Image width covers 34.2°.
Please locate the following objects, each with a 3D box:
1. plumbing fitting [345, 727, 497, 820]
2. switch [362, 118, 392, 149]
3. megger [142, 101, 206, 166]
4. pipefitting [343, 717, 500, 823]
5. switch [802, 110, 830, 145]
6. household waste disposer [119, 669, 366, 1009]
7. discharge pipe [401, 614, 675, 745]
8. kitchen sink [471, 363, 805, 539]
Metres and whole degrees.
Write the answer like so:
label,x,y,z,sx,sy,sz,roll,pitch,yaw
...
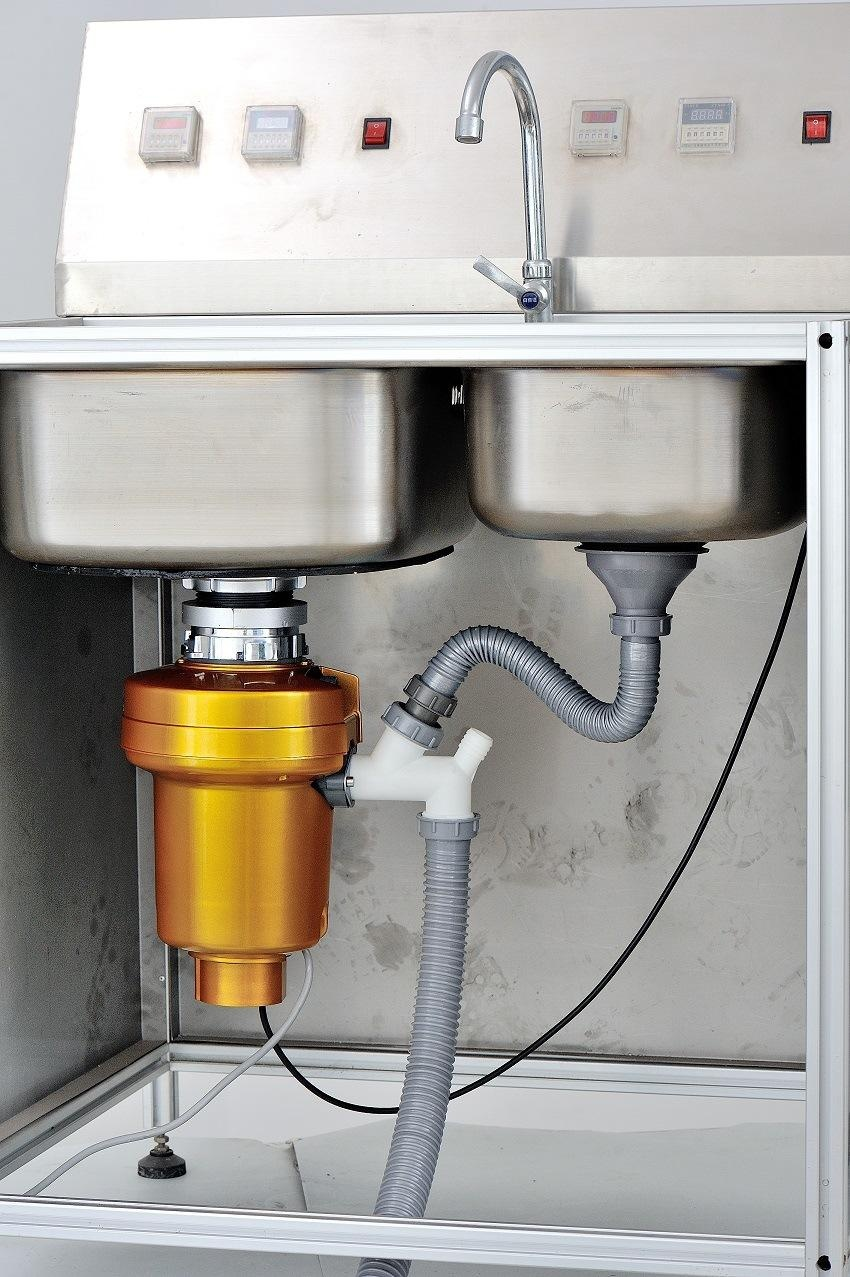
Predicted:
label,x,y,z,sx,sy,sz,roll,pitch,yaw
plumbing fitting,-0.015,0.110,1.165,0.138,0.082,0.051,7,15,-27
switch,-0.040,-0.431,1.186,0.029,0.029,0.016,0,-9,7
megger,-0.220,-0.442,1.219,0.066,0.056,0.024,-1,-13,11
pipefitting,-0.003,0.116,1.165,0.122,0.073,0.046,1,-1,17
switch,0.319,-0.413,1.124,0.030,0.031,0.006,3,3,10
household waste disposer,-0.160,0.165,1.155,0.224,0.249,0.192,-1,-9,-13
discharge pipe,0.090,0.040,1.208,0.297,0.116,0.062,0,1,45
kitchen sink,0.157,-0.134,1.034,0.253,0.136,0.124,0,8,10
